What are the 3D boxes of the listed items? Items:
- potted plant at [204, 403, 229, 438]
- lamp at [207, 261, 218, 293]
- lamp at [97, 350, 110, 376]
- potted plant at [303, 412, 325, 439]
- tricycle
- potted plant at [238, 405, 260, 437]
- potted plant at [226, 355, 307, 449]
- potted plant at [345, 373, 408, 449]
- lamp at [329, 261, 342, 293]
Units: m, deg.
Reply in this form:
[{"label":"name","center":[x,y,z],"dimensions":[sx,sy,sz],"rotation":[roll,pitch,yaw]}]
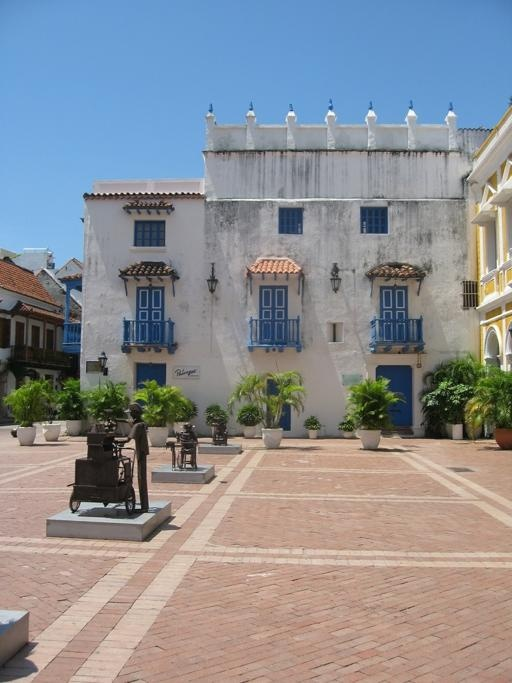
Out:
[{"label":"potted plant","center":[-1.479,2.487,21.272],"dimensions":[0.928,1.251,0.821],"rotation":[1,-3,-4]},{"label":"lamp","center":[-1.482,-2.200,22.877],"dimensions":[0.387,1.045,0.452],"rotation":[-1,-4,-3]},{"label":"lamp","center":[-5.284,0.735,23.106],"dimensions":[0.358,0.852,0.236],"rotation":[-1,-4,-14]},{"label":"potted plant","center":[1.879,2.787,22.014],"dimensions":[0.659,0.838,0.666],"rotation":[-1,-3,-3]},{"label":"tricycle","center":[-1.811,1.533,8.082],"dimensions":[0.746,0.936,1.012],"rotation":[-1,-4,16]},{"label":"potted plant","center":[-0.164,2.565,21.835],"dimensions":[0.975,1.236,0.949],"rotation":[2,-7,-11]},{"label":"potted plant","center":[0.574,2.077,19.861],"dimensions":[1.789,2.036,1.990],"rotation":[7,-12,-9]},{"label":"potted plant","center":[3.101,1.925,19.017],"dimensions":[1.883,2.090,1.848],"rotation":[2,-5,-14]},{"label":"lamp","center":[2.705,-2.188,22.770],"dimensions":[0.389,1.019,0.247],"rotation":[-2,-4,6]}]
